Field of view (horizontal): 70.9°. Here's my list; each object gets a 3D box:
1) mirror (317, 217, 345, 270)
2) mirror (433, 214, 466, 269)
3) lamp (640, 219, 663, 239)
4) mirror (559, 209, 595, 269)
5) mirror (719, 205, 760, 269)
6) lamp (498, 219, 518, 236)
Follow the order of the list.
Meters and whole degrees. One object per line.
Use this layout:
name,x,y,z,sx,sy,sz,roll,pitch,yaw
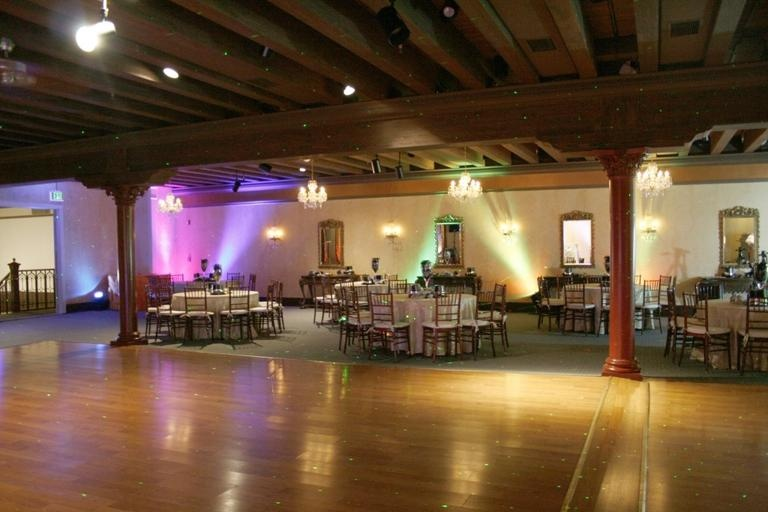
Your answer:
mirror,-1.559,-0.370,15.967,0.771,1.419,0.119,1,7,16
mirror,1.790,-0.402,14.851,0.789,1.409,0.246,0,7,8
lamp,6.509,-0.646,13.191,0.487,0.685,0.481,0,2,19
mirror,4.913,-0.416,13.774,0.790,1.412,0.257,0,7,4
mirror,8.265,-0.442,12.596,0.832,1.411,0.219,0,7,8
lamp,3.310,-0.723,14.327,0.481,0.415,0.115,0,7,7
